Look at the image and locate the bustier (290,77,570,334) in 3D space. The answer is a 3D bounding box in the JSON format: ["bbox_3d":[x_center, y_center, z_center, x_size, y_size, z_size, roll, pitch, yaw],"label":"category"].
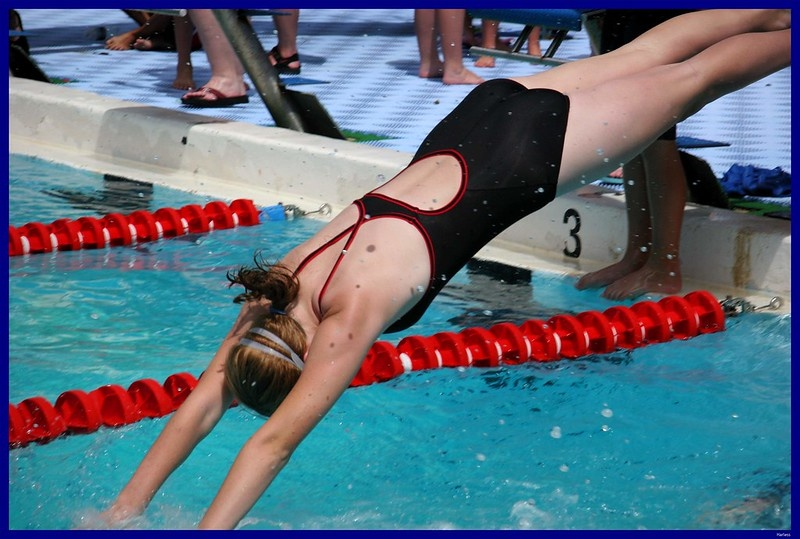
[{"bbox_3d":[0.372,-0.272,2.084,1.185,0.272,0.479,-33,36,-13],"label":"bustier"}]

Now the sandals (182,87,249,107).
[{"bbox_3d":[-1.356,-1.239,4.852,0.399,0.089,0.200,-4,7,-40],"label":"sandals"}]
